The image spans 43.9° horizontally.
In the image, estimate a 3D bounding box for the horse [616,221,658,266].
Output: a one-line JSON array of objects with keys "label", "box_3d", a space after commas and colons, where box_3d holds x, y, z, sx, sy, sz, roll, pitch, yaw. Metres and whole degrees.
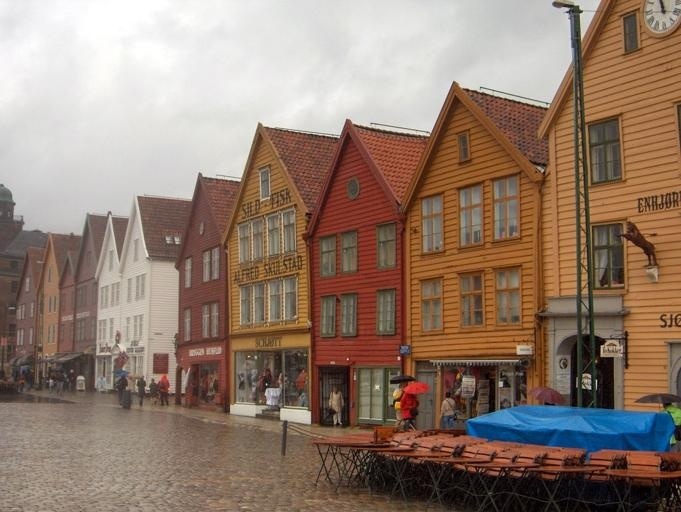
[{"label": "horse", "box_3d": [9.713, -0.330, 27.490, 1.088, 1.409, 0.609, -5, 0, -35]}]

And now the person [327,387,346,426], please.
[{"label": "person", "box_3d": [-0.209, 7.068, 39.850, 0.759, 1.792, 1.208, -5, 0, 0]}]

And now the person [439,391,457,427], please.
[{"label": "person", "box_3d": [4.075, 5.905, 32.047, 0.546, 1.370, 2.197, -5, -1, 6]}]

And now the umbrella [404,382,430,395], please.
[{"label": "umbrella", "box_3d": [2.523, 4.492, 28.527, 0.769, 0.432, 1.006, -6, -1, -2]}]
